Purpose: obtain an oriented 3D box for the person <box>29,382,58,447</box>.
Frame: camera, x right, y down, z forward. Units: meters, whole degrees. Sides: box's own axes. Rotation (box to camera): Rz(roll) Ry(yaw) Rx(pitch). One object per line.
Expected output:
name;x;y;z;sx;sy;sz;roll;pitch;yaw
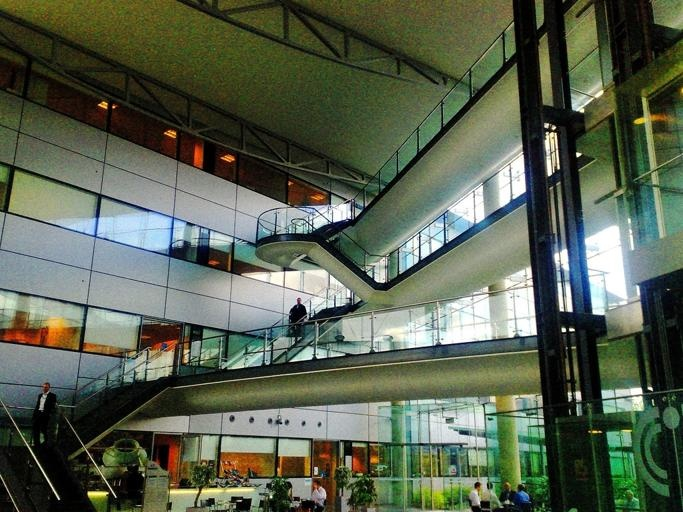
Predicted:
person;-7.869;4.232;17.505;0.521;1.624;0.714;6;-21;-21
